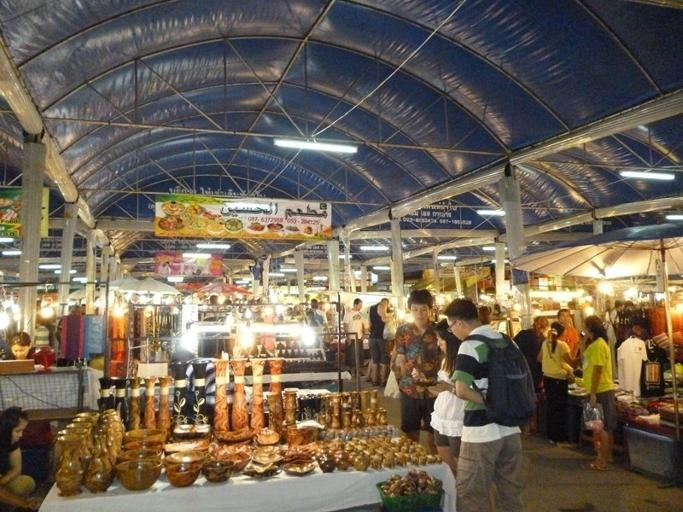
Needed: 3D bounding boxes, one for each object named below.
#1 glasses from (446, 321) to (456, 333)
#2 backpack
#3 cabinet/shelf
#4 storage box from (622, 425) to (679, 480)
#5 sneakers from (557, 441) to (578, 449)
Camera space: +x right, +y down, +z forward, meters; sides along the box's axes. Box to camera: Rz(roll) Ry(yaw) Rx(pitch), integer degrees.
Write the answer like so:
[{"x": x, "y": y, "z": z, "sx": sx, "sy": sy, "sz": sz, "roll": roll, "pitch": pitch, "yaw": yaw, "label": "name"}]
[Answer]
[{"x": 1.035, "y": 0.673, "z": 5.139, "sx": 0.041, "sy": 0.125, "sz": 0.124, "roll": -6, "pitch": -11, "yaw": 4, "label": "glasses"}, {"x": 1.419, "y": 1.091, "z": 4.809, "sx": 0.546, "sy": 0.740, "sz": 0.264, "roll": 1, "pitch": 7, "yaw": -7, "label": "backpack"}, {"x": -1.261, "y": 1.461, "z": 8.615, "sx": 2.422, "sy": 0.901, "sz": 2.332, "roll": 2, "pitch": -6, "yaw": -16, "label": "cabinet/shelf"}, {"x": 3.998, "y": 2.570, "z": 7.020, "sx": 0.435, "sy": 0.440, "sz": 0.529, "roll": 4, "pitch": -8, "yaw": -26, "label": "storage box"}, {"x": 3.309, "y": 2.808, "z": 8.028, "sx": 0.293, "sy": 0.113, "sz": 0.102, "roll": -3, "pitch": -25, "yaw": 5, "label": "sneakers"}]
